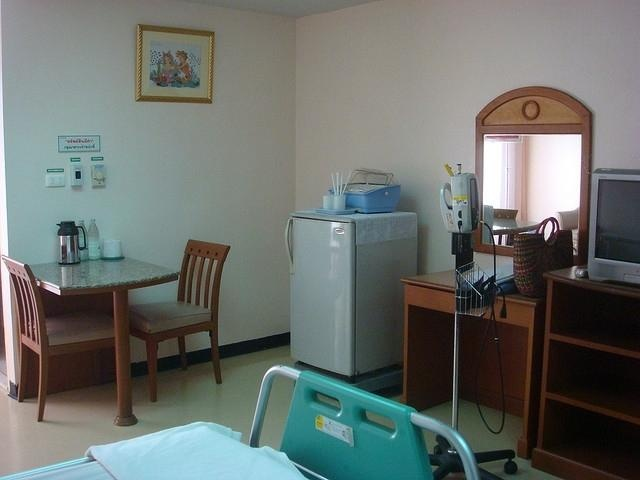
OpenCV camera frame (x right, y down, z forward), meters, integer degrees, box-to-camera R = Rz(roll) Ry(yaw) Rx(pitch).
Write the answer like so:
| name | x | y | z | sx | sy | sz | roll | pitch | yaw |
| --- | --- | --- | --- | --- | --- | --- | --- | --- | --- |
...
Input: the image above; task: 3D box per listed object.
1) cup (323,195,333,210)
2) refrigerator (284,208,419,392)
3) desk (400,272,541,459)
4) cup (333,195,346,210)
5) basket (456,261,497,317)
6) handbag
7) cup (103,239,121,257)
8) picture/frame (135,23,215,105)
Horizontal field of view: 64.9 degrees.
| name | x | y | z | sx | sy | sz | roll | pitch | yaw |
| --- | --- | --- | --- | --- | --- | --- | --- | --- | --- |
| cup | 0.066 | -0.288 | 3.954 | 0.087 | 0.110 | 0.090 | 2 | 6 | 0 |
| refrigerator | 0.132 | 0.387 | 4.619 | 1.176 | 1.973 | 1.159 | -4 | 7 | -38 |
| desk | 0.951 | 0.773 | 3.124 | 0.499 | 0.996 | 0.937 | -5 | 9 | -35 |
| cup | 0.151 | -0.283 | 3.862 | 0.092 | 0.119 | 0.100 | 2 | 6 | 0 |
| basket | 0.850 | 0.278 | 2.753 | 0.156 | 0.312 | 0.280 | 4 | 20 | 25 |
| handbag | 1.319 | 0.122 | 2.959 | 0.364 | 0.436 | 0.152 | -8 | 13 | -29 |
| cup | -1.615 | 0.066 | 3.956 | 0.120 | 0.131 | 0.123 | 2 | -1 | 0 |
| picture/frame | -1.220 | -1.465 | 4.161 | 0.649 | 0.633 | 0.028 | -4 | 12 | -36 |
